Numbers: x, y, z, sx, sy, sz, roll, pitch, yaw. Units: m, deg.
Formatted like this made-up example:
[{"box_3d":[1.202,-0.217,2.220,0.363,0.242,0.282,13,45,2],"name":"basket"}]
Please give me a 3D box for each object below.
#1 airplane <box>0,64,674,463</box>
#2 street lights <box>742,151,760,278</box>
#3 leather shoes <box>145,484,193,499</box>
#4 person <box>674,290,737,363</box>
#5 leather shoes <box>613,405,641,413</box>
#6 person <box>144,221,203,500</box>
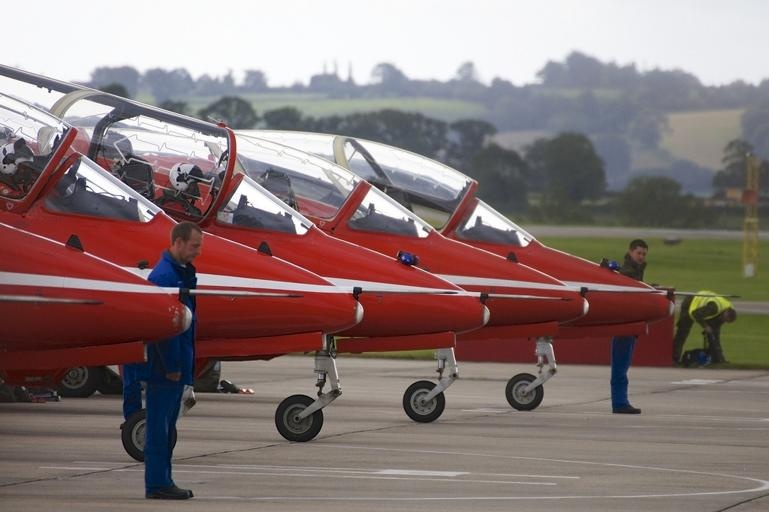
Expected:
[{"box_3d":[-0.166,0.254,21.288,7.873,2.761,6.907,2,9,-3],"name":"airplane"},{"box_3d":[8.152,-0.904,30.486,0.383,2.733,0.595,3,7,14],"name":"street lights"},{"box_3d":[-2.570,2.838,16.556,0.622,0.199,0.183,-2,2,-1],"name":"leather shoes"},{"box_3d":[6.295,1.467,27.037,1.146,1.429,1.113,3,6,12],"name":"person"},{"box_3d":[3.751,2.401,21.351,0.460,0.142,0.145,-2,4,1],"name":"leather shoes"},{"box_3d":[-2.577,1.253,16.603,0.646,3.320,0.733,1,7,-7],"name":"person"}]
